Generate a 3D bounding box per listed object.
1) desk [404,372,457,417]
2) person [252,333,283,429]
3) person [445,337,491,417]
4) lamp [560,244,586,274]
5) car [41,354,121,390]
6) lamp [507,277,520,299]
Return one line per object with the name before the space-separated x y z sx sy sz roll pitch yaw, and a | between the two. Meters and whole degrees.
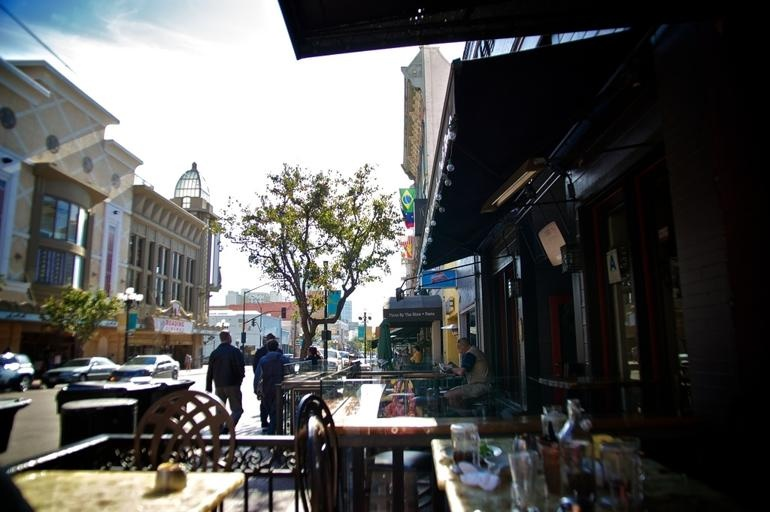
desk | 0.822 2.021 7.462 0.576 0.656 4.311 -3 -16 9
person | -2.522 2.801 10.748 0.747 2.147 0.716 -2 13 -29
person | 1.331 1.880 7.728 0.845 1.509 0.768 -4 -53 8
lamp | 2.845 0.040 7.458 0.299 0.391 0.231 -6 -16 19
car | -14.818 5.573 23.689 1.485 1.563 3.475 -4 -16 13
lamp | 2.763 0.678 10.594 0.237 0.463 0.475 1 -10 5
